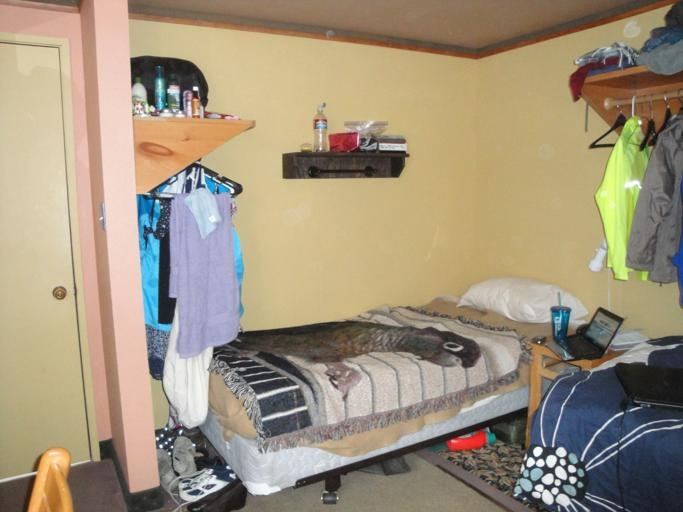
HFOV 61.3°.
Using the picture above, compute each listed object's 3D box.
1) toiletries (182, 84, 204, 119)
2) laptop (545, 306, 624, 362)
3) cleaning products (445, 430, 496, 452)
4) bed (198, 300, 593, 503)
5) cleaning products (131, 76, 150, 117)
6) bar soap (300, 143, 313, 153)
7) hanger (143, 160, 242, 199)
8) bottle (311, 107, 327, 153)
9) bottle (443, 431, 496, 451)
[{"bbox_3d":[-0.931,-0.972,3.589,0.117,0.238,0.416,-5,10,-13],"label":"toiletries"},{"bbox_3d":[1.545,0.548,3.675,0.388,0.237,0.375,-4,14,-7],"label":"laptop"},{"bbox_3d":[0.864,1.218,3.865,0.321,0.092,0.151,-10,7,-20],"label":"cleaning products"},{"bbox_3d":[0.248,0.893,3.516,1.766,0.398,1.089,-11,16,-24],"label":"bed"},{"bbox_3d":[-1.210,-0.961,3.449,0.088,0.261,0.401,-6,10,-17],"label":"cleaning products"},{"bbox_3d":[-0.257,-0.768,4.129,0.078,0.065,0.076,-5,8,-40],"label":"bar soap"},{"bbox_3d":[-0.899,-0.457,3.477,0.571,0.219,0.133,-6,10,-22],"label":"hanger"},{"bbox_3d":[-0.156,-0.930,4.175,0.116,0.339,0.249,-3,10,-1],"label":"bottle"},{"bbox_3d":[0.863,1.212,3.856,0.312,0.081,0.147,-10,8,-20],"label":"bottle"}]
